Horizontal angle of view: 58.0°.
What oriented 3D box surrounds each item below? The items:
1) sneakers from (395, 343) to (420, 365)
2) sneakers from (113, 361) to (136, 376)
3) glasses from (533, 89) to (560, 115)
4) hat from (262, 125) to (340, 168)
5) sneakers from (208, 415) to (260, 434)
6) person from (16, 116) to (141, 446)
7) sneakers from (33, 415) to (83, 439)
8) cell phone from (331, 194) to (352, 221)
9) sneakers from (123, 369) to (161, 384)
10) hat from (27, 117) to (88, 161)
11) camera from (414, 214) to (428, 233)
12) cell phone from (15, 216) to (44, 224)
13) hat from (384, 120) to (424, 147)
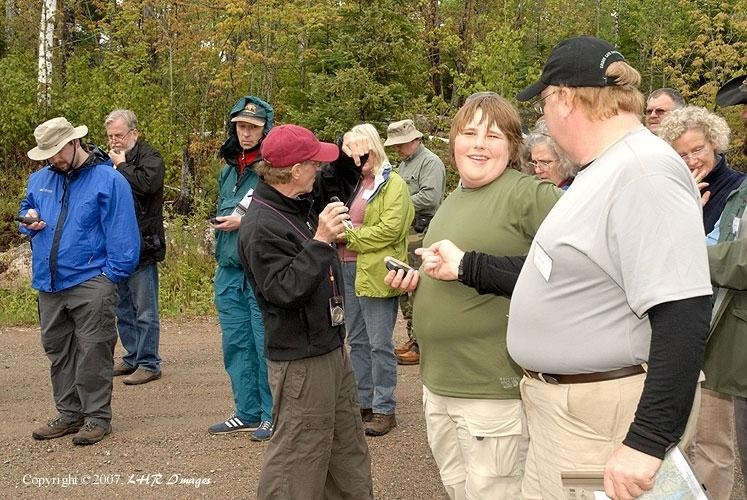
[{"bbox_3d":[0.406,1.273,8.230,0.194,0.214,0.508,-2,-8,43],"label":"sneakers"},{"bbox_3d":[-2.945,1.407,8.019,0.285,0.125,0.123,10,-2,-24],"label":"sneakers"},{"bbox_3d":[0.991,-0.857,3.891,0.036,0.125,0.120,29,19,5],"label":"glasses"},{"bbox_3d":[-0.554,-0.727,5.009,0.465,0.254,0.300,-14,29,-5],"label":"hat"},{"bbox_3d":[-1.376,1.721,6.638,0.509,0.199,0.183,4,-7,-9],"label":"sneakers"},{"bbox_3d":[-2.789,0.271,6.453,1.018,2.990,0.927,-3,13,-9],"label":"person"},{"bbox_3d":[-3.032,1.704,6.521,0.453,0.211,0.180,0,6,-31],"label":"sneakers"},{"bbox_3d":[-0.259,-0.338,5.128,0.063,0.269,0.073,-36,7,20],"label":"cell phone"},{"bbox_3d":[-2.653,1.453,7.768,0.352,0.151,0.144,2,-4,-33],"label":"sneakers"},{"bbox_3d":[-2.979,-1.108,6.401,0.436,0.174,0.449,-27,25,6],"label":"hat"},{"bbox_3d":[0.615,-0.334,8.450,0.200,0.210,0.075,13,9,33],"label":"camera"},{"bbox_3d":[-3.252,-0.290,6.397,0.213,0.073,0.055,8,-11,-14],"label":"cell phone"},{"bbox_3d":[0.382,-1.421,8.190,0.344,0.185,0.375,-7,15,42],"label":"hat"}]
